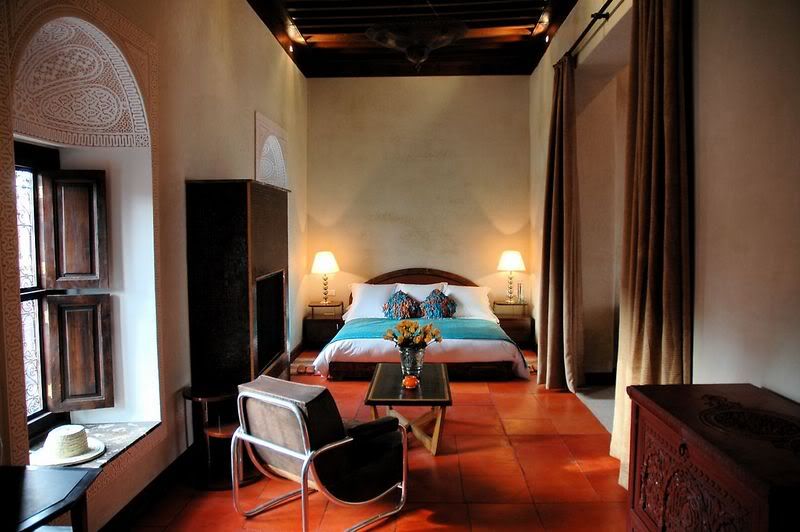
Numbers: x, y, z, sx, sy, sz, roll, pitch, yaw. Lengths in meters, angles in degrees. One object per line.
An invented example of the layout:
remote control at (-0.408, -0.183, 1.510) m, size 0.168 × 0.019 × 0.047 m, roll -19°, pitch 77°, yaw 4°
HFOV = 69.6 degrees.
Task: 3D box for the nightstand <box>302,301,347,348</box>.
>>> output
nightstand at (-1.056, 0.830, 8.399) m, size 0.778 × 0.747 × 0.571 m, roll 0°, pitch 7°, yaw 6°

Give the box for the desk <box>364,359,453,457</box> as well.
desk at (0.114, 1.291, 5.286) m, size 0.758 × 0.479 × 0.556 m, roll 2°, pitch 18°, yaw 4°

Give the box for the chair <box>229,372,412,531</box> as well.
chair at (-0.447, 1.259, 4.335) m, size 1.062 × 1.204 × 1.227 m, roll 2°, pitch 4°, yaw 44°

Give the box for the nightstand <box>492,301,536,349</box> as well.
nightstand at (1.592, 0.795, 8.152) m, size 0.454 × 0.630 × 0.316 m, roll -1°, pitch -1°, yaw -7°

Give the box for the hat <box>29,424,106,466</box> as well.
hat at (-2.271, 1.235, 3.930) m, size 0.317 × 0.104 × 0.321 m, roll 0°, pitch 3°, yaw 24°

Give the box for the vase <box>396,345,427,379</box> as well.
vase at (0.080, 0.877, 5.378) m, size 0.266 × 0.297 × 0.265 m, roll 1°, pitch 0°, yaw -34°

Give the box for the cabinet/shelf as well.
cabinet/shelf at (-1.436, 0.193, 5.021) m, size 0.720 × 1.896 × 1.206 m, roll -2°, pitch 14°, yaw -5°

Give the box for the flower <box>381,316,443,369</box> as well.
flower at (0.141, 0.732, 5.560) m, size 0.487 × 0.503 × 0.497 m, roll 0°, pitch -7°, yaw 3°
